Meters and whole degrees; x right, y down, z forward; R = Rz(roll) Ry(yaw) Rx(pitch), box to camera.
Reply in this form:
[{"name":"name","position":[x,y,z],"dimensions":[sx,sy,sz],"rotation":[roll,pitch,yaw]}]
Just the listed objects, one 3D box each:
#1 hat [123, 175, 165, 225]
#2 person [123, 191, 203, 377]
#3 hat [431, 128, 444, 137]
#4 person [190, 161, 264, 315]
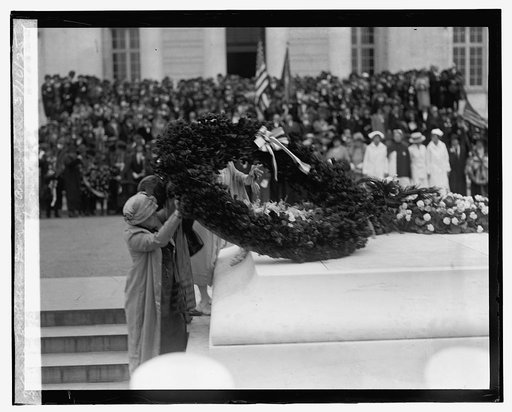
[{"name":"hat","position":[-1.024,-0.070,10.409],"dimensions":[0.473,0.205,0.380],"rotation":[-23,40,-18]},{"name":"person","position":[-0.915,0.713,10.500],"dimensions":[0.643,1.734,0.202],"rotation":[-1,6,-11]},{"name":"hat","position":[1.733,-0.714,10.589],"dimensions":[0.089,0.025,0.086],"rotation":[3,-10,0]},{"name":"person","position":[-0.262,0.256,10.518],"dimensions":[0.815,1.541,0.588],"rotation":[-4,45,-6]}]
